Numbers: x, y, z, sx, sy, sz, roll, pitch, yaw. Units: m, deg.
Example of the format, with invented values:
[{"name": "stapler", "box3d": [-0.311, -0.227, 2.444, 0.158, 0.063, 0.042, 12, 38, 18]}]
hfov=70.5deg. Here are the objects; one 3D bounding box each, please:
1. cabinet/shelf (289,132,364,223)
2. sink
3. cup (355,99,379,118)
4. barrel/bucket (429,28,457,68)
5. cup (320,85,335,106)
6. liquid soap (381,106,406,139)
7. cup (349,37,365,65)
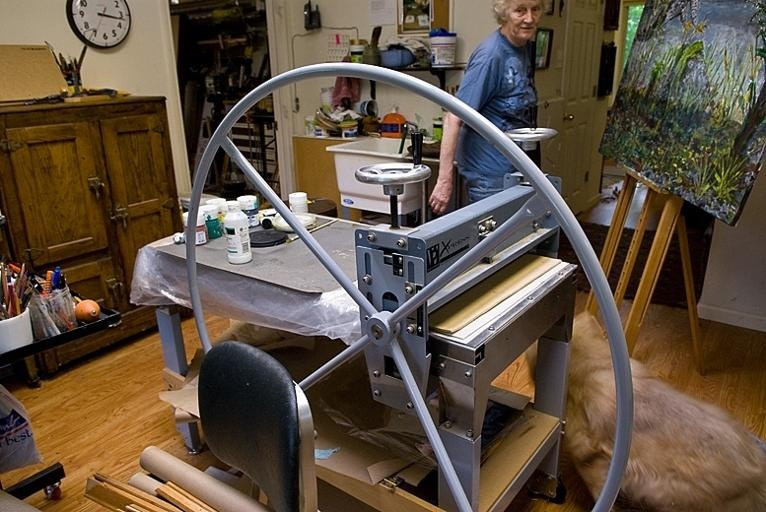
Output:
[{"name": "cabinet/shelf", "box3d": [-0.457, -0.687, 4.670, 0.894, 0.925, 0.298, 19, 30, 37]}, {"name": "sink", "box3d": [0.001, -0.701, 4.705, 0.784, 0.569, 0.696, 19, 30, 40]}, {"name": "cup", "box3d": [-0.152, -1.442, 5.327, 0.169, 0.212, 0.167, 19, 10, -3]}, {"name": "barrel/bucket", "box3d": [0.521, -1.762, 4.624, 0.270, 0.345, 0.298, 5, 31, 14]}, {"name": "cup", "box3d": [-0.546, -1.603, 5.418, 0.135, 0.256, 0.132, 1, 30, 0]}, {"name": "liquid soap", "box3d": [0.096, -1.180, 4.952, 0.204, 0.200, 0.248, -1, 22, 0]}, {"name": "cup", "box3d": [-0.231, -1.927, 5.081, 0.162, 0.189, 0.240, -2, 22, -2]}]
